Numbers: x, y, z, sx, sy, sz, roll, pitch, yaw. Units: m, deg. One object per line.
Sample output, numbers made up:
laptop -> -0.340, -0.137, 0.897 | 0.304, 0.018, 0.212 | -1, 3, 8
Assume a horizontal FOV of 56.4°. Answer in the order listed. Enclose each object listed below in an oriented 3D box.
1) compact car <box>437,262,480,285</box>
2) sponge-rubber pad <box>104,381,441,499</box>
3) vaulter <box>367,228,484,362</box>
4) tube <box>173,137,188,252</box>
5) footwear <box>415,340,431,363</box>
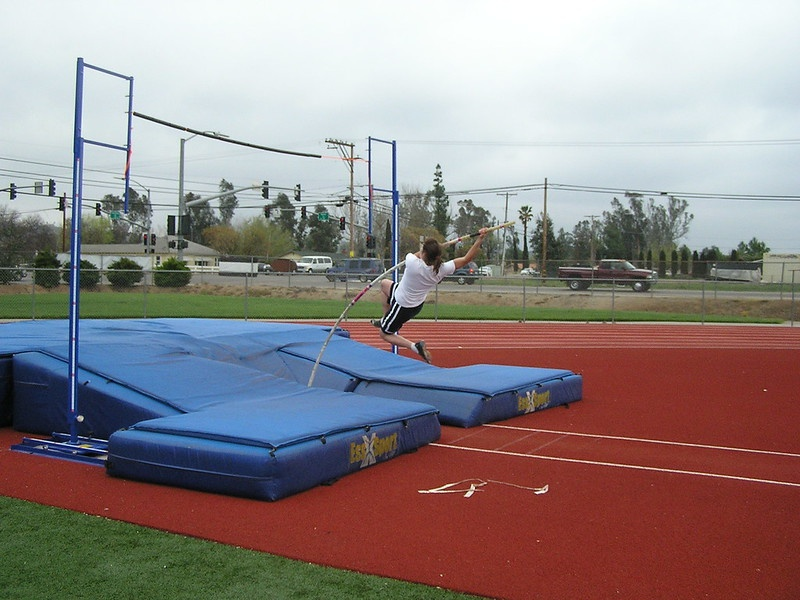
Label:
compact car -> 2.953, -1.383, 35.404 | 2.101, 1.024, 1.263 | 2, 0, 13
sponge-rubber pad -> -0.986, 1.182, 6.476 | 1.762, 0.475, 2.512 | 0, 0, 29
vaulter -> 0.201, -0.128, 8.680 | 0.965, 1.824, 0.938 | 4, 6, 5
tube -> -7.498, -4.072, 25.561 | 0.433, 3.445, 0.458 | -13, -21, 23
footwear -> 0.276, 0.648, 8.754 | 0.145, 0.334, 0.124 | -21, 20, 24
